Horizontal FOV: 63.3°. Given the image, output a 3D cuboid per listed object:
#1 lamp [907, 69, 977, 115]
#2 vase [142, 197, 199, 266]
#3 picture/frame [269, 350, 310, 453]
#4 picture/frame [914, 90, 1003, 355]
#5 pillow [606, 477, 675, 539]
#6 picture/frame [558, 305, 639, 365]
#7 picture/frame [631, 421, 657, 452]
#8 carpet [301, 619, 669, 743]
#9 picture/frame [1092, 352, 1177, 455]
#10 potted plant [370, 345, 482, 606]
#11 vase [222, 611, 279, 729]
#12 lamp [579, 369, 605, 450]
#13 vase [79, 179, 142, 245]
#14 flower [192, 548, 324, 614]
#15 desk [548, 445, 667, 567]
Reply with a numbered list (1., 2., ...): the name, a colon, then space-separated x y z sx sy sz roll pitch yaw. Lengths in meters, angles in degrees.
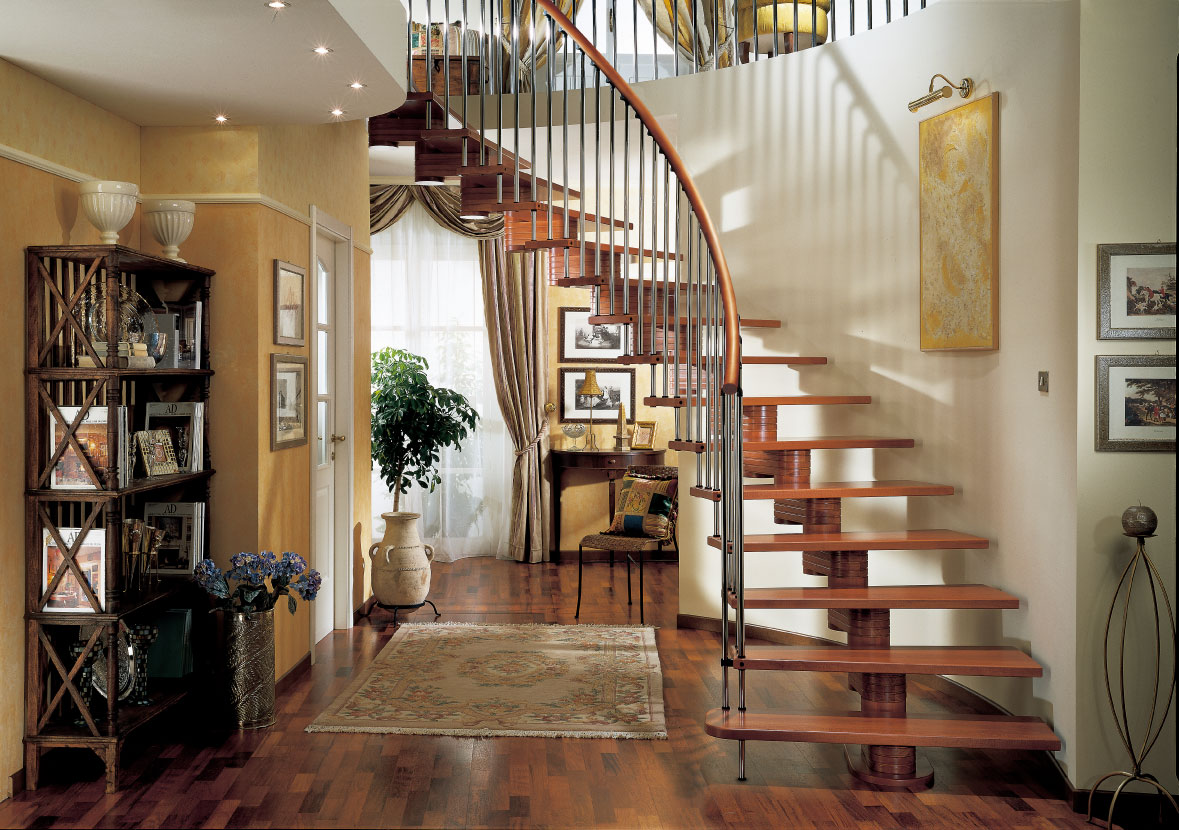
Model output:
1. lamp: 2.044 -1.899 5.659 0.422 0.222 0.140 -23 15 -11
2. vase: -2.337 -1.015 5.403 0.334 0.426 0.337 -1 5 -22
3. picture/frame: -1.911 -0.078 6.110 0.033 0.596 0.821 0 1 -32
4. picture/frame: 2.196 -1.096 5.670 0.110 1.407 0.749 -6 9 -15
5. pillow: 0.445 0.755 7.847 0.605 0.521 0.295 0 -2 44
6. picture/frame: 0.054 -0.698 8.150 0.723 0.589 0.032 1 2 2
7. picture/frame: 0.510 0.205 9.156 0.238 0.310 0.052 7 -17 7
8. carpet: -0.511 1.667 6.199 1.973 0.285 1.909 -3 0 4
9. picture/frame: 2.674 -0.065 4.670 0.478 0.492 0.019 1 -2 7
10. potted plant: -1.417 0.453 8.239 0.918 2.118 2.000 -3 1 -8
11. vase: -1.899 1.428 5.403 0.240 0.680 0.123 -3 1 -22
12. lamp: 0.020 -0.070 9.182 0.278 0.641 0.241 -3 1 -1
13. vase: -2.589 -1.073 5.149 0.288 0.336 0.295 -4 10 -41
14. flower: -1.850 0.997 5.617 0.555 0.340 0.460 17 1 -25
15. desk: 0.095 1.075 9.371 1.486 1.408 0.961 0 0 -5
